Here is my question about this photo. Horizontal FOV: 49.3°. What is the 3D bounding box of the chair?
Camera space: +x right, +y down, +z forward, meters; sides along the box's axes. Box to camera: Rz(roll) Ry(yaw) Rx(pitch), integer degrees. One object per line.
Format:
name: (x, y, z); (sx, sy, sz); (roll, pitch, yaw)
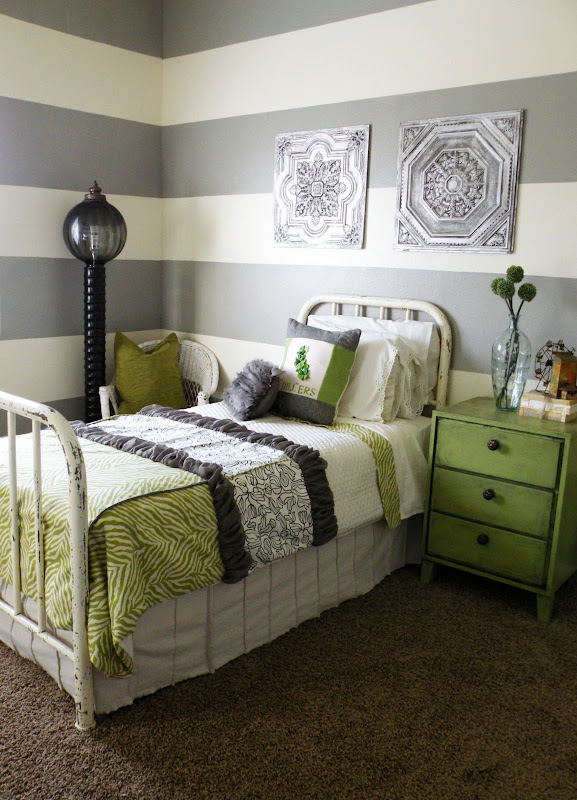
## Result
chair: (-0.726, -0.128, 3.594); (0.491, 0.625, 0.505); (1, 5, -6)

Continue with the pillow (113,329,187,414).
pillow: (-0.781, -0.140, 3.545); (0.422, 0.485, 0.180); (-6, -13, -35)
